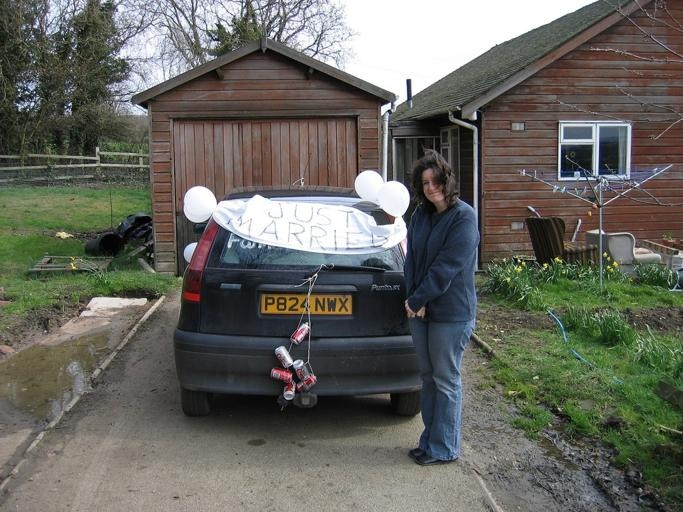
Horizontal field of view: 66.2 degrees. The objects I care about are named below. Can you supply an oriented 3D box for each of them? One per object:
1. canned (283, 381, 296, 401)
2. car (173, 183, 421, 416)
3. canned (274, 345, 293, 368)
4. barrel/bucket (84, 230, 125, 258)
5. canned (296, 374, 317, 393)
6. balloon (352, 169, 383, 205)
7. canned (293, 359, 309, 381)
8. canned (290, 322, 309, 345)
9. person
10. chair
[{"bbox_3d":[-0.403,1.050,4.069,0.099,0.108,0.183,9,20,-4],"label":"canned"},{"bbox_3d":[-0.335,0.365,4.474,1.941,1.637,1.090,1,10,8],"label":"car"},{"bbox_3d":[-0.446,0.786,4.085,0.134,0.167,0.095,-3,10,-11],"label":"canned"},{"bbox_3d":[-5.787,-0.306,12.922,0.784,0.692,0.671,8,-26,34],"label":"barrel/bucket"},{"bbox_3d":[-0.276,1.007,4.112,0.143,0.107,0.059,-36,25,-6],"label":"canned"},{"bbox_3d":[0.243,-0.730,5.449,0.292,0.378,0.306,-17,4,19],"label":"balloon"},{"bbox_3d":[-0.322,0.888,4.088,0.089,0.157,0.089,-16,17,22],"label":"canned"},{"bbox_3d":[-0.327,0.613,4.134,0.150,0.160,0.074,-2,10,-7],"label":"canned"},{"bbox_3d":[0.720,0.389,3.962,0.546,2.339,0.486,2,10,17],"label":"person"},{"bbox_3d":[4.830,-0.248,10.216,2.242,1.070,1.029,-1,10,-3],"label":"chair"}]
